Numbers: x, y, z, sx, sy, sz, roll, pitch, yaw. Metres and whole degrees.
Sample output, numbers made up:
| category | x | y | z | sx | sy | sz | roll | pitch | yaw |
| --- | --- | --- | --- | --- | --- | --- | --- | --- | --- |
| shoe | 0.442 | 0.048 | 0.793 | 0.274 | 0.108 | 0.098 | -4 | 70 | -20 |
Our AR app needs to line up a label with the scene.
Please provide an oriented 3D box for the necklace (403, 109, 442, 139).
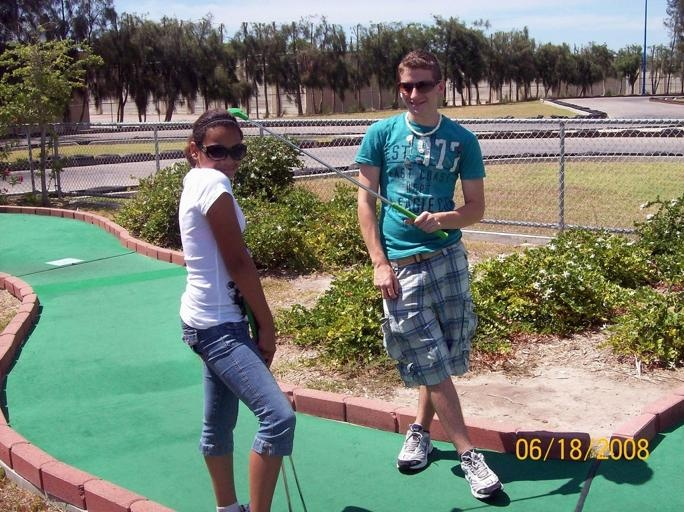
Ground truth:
| category | x | y | z | sx | sy | sz | roll | pitch | yaw |
| --- | --- | --- | --- | --- | --- | --- | --- | --- | --- |
| necklace | 0.479 | -0.773 | 3.506 | 0.225 | 0.146 | 0.112 | -2 | 7 | 7 |

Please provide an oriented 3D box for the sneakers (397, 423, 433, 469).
| category | x | y | z | sx | sy | sz | roll | pitch | yaw |
| --- | --- | --- | --- | --- | --- | --- | --- | --- | --- |
| sneakers | 0.473 | 1.196 | 3.824 | 0.170 | 0.223 | 0.455 | 0 | 5 | 24 |

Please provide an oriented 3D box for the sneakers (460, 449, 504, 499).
| category | x | y | z | sx | sy | sz | roll | pitch | yaw |
| --- | --- | --- | --- | --- | --- | --- | --- | --- | --- |
| sneakers | 0.788 | 1.253 | 3.470 | 0.165 | 0.164 | 0.413 | -15 | 6 | -8 |

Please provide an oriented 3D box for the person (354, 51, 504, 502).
| category | x | y | z | sx | sy | sz | roll | pitch | yaw |
| --- | --- | --- | --- | --- | --- | --- | --- | --- | --- |
| person | 0.498 | 0.079 | 3.539 | 0.837 | 2.584 | 0.526 | 0 | 7 | 14 |
